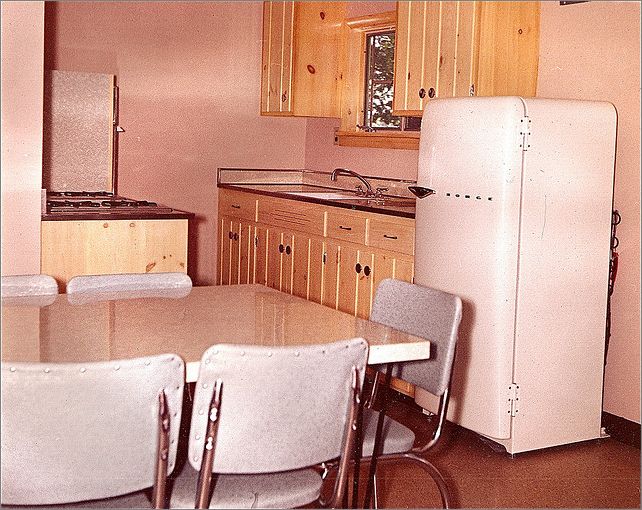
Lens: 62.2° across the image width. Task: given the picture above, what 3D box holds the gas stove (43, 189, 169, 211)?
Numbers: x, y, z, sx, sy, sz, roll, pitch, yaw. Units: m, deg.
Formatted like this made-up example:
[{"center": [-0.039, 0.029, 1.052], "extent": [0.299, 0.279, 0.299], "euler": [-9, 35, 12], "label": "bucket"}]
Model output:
[{"center": [-1.347, -0.332, 3.327], "extent": [0.672, 0.108, 0.844], "euler": [0, 7, -28], "label": "gas stove"}]

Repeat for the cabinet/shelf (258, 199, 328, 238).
[{"center": [-0.163, -0.263, 3.439], "extent": [0.389, 0.136, 0.276], "euler": [13, 16, 43], "label": "cabinet/shelf"}]

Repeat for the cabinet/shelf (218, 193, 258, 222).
[{"center": [-0.615, -0.373, 3.956], "extent": [0.221, 0.249, 0.387], "euler": [-1, 7, -32], "label": "cabinet/shelf"}]

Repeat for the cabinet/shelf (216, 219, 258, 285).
[{"center": [-0.612, -0.028, 3.968], "extent": [0.168, 0.450, 0.461], "euler": [-2, 6, -27], "label": "cabinet/shelf"}]
